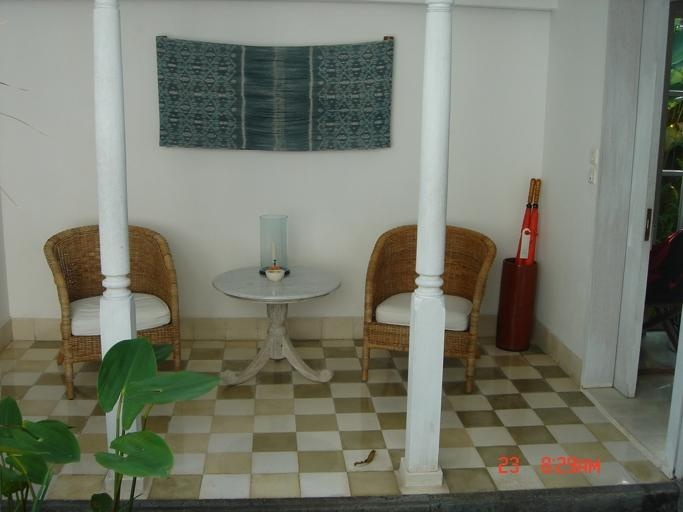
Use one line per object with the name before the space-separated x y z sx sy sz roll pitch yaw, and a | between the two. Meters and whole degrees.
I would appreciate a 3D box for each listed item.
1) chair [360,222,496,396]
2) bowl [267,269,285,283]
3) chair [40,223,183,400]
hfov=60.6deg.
chair | 0.672 0.348 4.329 0.941 1.002 0.838 4 15 14
bowl | -0.484 0.129 4.251 0.138 0.087 0.177 -1 15 -7
chair | -1.678 0.335 4.230 0.849 0.970 0.819 -11 20 -44
